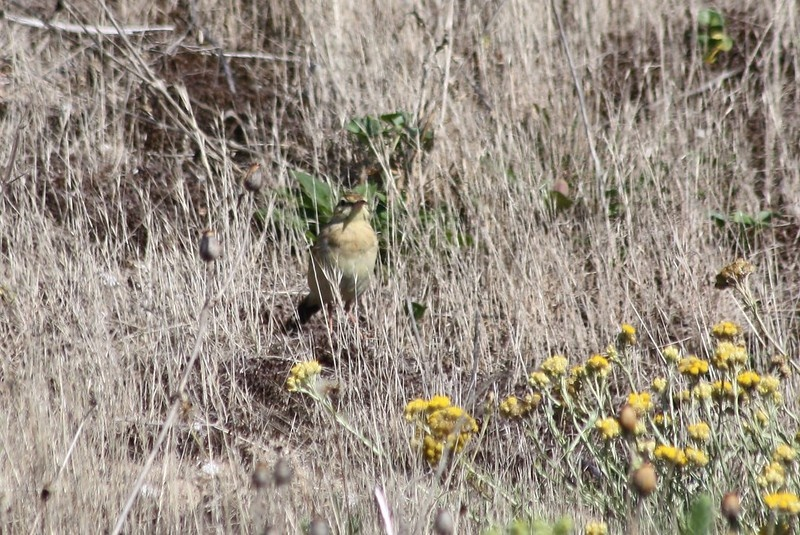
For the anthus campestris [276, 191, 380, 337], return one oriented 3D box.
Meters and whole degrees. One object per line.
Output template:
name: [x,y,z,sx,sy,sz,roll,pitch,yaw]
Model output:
anthus campestris: [-0.411,-0.091,8.174,0.414,1.255,0.831,16,51,-22]
